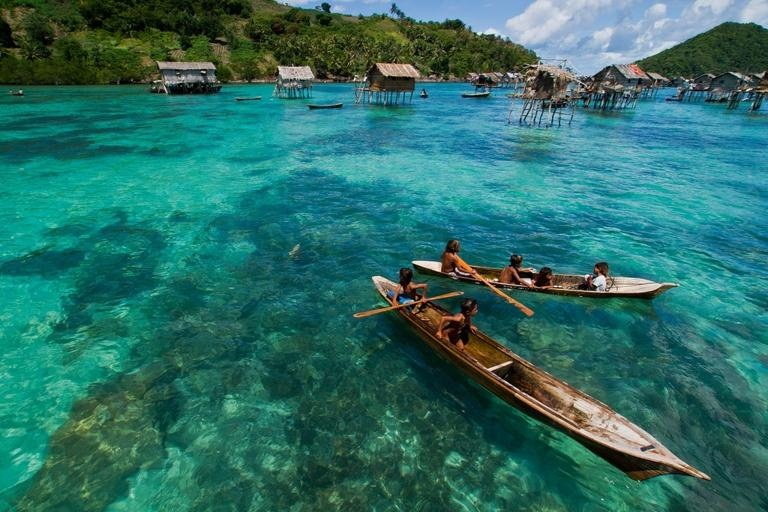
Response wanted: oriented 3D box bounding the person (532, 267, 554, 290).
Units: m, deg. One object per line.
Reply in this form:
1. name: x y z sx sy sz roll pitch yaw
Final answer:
1. person: 6.691 0.889 18.648 0.823 0.326 0.888 0 41 16

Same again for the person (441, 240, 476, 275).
1. person: 3.314 0.080 19.946 0.931 1.080 1.380 -23 41 -17

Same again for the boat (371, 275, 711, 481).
1. boat: 5.382 4.387 15.486 11.519 1.488 1.848 25 57 19
